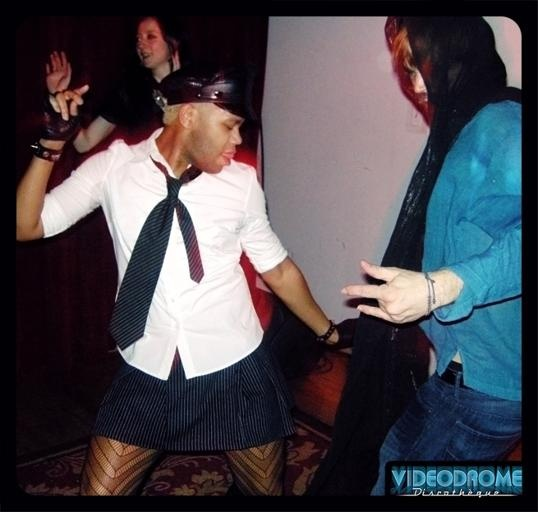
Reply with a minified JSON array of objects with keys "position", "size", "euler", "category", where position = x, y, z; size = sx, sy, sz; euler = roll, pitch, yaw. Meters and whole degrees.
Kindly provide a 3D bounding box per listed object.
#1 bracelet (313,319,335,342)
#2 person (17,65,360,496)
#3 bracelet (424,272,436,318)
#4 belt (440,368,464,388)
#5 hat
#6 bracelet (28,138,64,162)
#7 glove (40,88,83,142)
[{"position":[0.198,0.266,1.653],"size":[0.022,0.065,0.064],"euler":[36,-5,-4],"category":"bracelet"},{"position":[-0.267,0.047,1.412],"size":[0.895,1.151,0.583],"euler":[-13,22,-21],"category":"person"},{"position":[0.448,0.105,1.263],"size":[0.022,0.086,0.058],"euler":[-7,0,38],"category":"bracelet"},{"position":[0.606,0.404,1.492],"size":[0.033,0.031,0.057],"euler":[16,-4,3],"category":"belt"},{"position":[-0.206,-0.542,1.480],"size":[0.301,0.186,0.251],"euler":[2,21,-3],"category":"hat"},{"position":[-0.673,-0.321,1.377],"size":[0.072,0.039,0.065],"euler":[12,7,38],"category":"bracelet"},{"position":[-0.624,-0.403,1.353],"size":[0.101,0.150,0.047],"euler":[2,-3,-8],"category":"glove"}]
